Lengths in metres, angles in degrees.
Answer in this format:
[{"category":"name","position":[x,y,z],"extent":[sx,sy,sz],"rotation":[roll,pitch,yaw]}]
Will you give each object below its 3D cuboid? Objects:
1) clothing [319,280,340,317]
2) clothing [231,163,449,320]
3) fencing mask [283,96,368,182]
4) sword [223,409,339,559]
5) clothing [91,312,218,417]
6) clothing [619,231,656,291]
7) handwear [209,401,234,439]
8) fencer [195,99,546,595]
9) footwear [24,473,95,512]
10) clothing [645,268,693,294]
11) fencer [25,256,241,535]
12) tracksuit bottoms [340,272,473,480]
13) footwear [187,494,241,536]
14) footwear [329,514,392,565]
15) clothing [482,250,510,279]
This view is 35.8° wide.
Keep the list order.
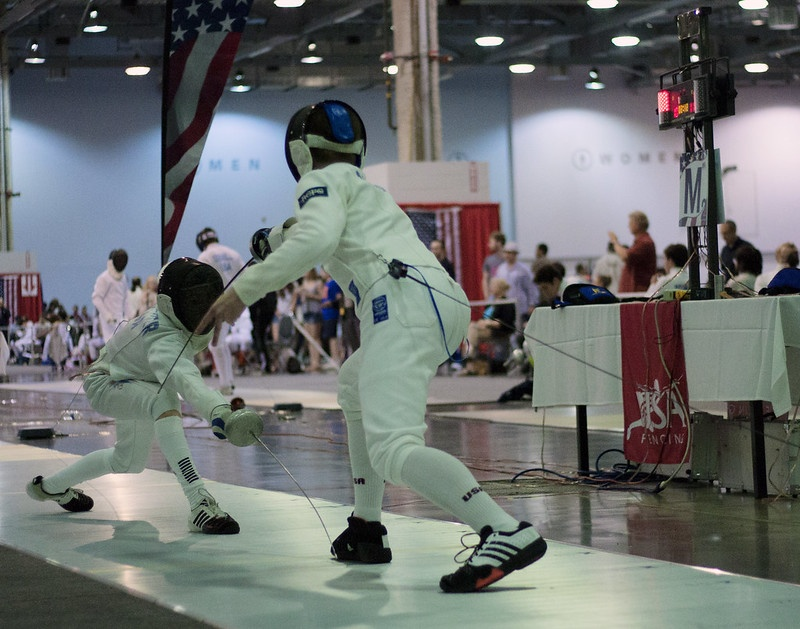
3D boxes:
[{"category":"clothing","position":[-0.914,-0.192,16.217],"extent":[0.284,0.517,0.528],"rotation":[2,-2,1]},{"category":"clothing","position":[-0.238,-0.309,4.766],"extent":[0.519,0.741,0.357],"rotation":[-4,37,0]},{"category":"fencing mask","position":[-0.317,-0.695,5.097],"extent":[0.268,0.373,0.317],"rotation":[0,-13,-15]},{"category":"sword","position":[-0.628,0.896,6.445],"extent":[0.135,0.683,0.101],"rotation":[-34,13,28]},{"category":"clothing","position":[-1.110,0.220,5.782],"extent":[0.468,0.339,0.672],"rotation":[20,-1,-15]},{"category":"clothing","position":[2.285,-0.478,11.775],"extent":[0.332,0.547,0.649],"rotation":[-2,1,3]},{"category":"handwear","position":[-0.751,0.433,5.154],"extent":[0.097,0.142,0.139],"rotation":[-1,27,-12]},{"category":"fencer","position":[-0.239,0.094,4.919],"extent":[1.086,1.940,1.146],"rotation":[-2,-3,-29]},{"category":"footwear","position":[-1.680,0.887,6.145],"extent":[0.378,0.139,0.167],"rotation":[15,-24,-37]},{"category":"clothing","position":[1.899,-0.233,8.721],"extent":[0.393,0.097,0.385],"rotation":[-3,1,-8]},{"category":"fencer","position":[-1.187,0.375,5.962],"extent":[0.706,1.281,1.362],"rotation":[2,-3,-44]},{"category":"tracksuit bottoms","position":[0.039,0.307,5.441],"extent":[0.547,0.507,1.252],"rotation":[-8,33,12]},{"category":"footwear","position":[-0.850,0.923,5.697],"extent":[0.259,0.175,0.129],"rotation":[-5,-8,35]},{"category":"footwear","position":[-0.162,0.934,5.120],"extent":[0.225,0.152,0.162],"rotation":[1,-5,40]},{"category":"clothing","position":[1.131,-0.592,14.974],"extent":[0.443,0.453,0.247],"rotation":[0,-4,1]}]
